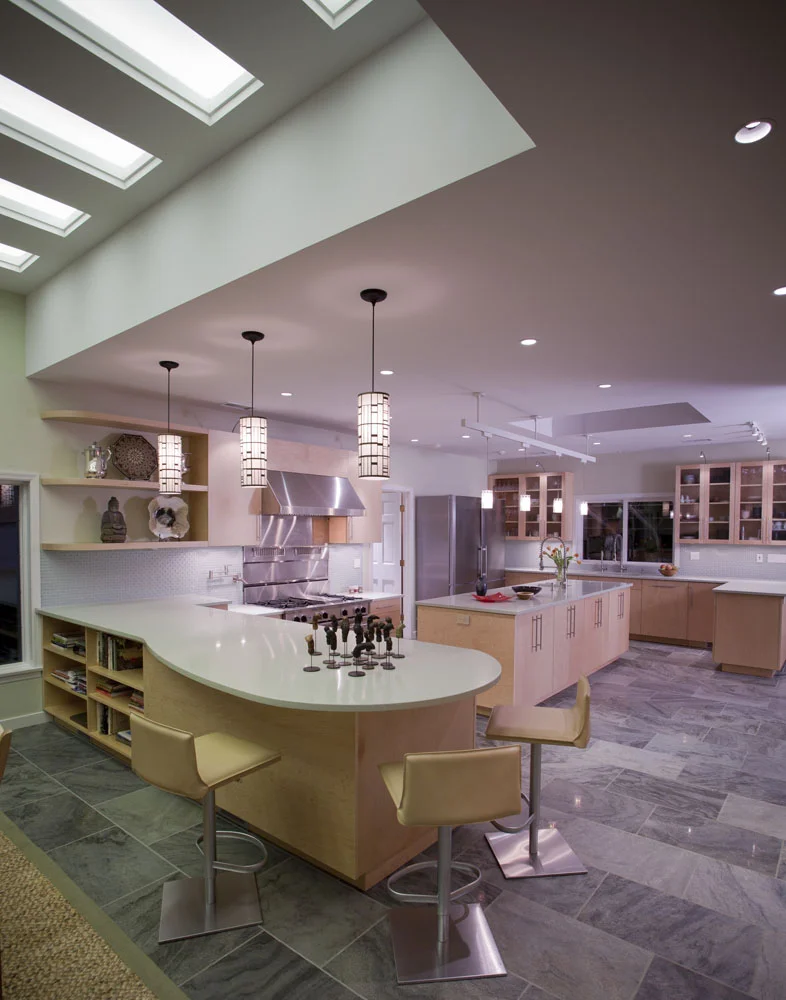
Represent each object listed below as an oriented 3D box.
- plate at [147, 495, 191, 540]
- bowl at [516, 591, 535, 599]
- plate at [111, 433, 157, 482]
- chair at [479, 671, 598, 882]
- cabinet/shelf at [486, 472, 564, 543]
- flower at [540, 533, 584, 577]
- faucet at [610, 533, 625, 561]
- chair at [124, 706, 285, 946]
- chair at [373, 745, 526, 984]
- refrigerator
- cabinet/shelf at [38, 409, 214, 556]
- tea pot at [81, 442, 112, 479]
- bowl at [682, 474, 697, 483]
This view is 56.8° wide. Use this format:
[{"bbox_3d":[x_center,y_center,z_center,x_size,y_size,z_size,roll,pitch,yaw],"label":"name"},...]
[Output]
[{"bbox_3d":[-1.705,0.131,5.529,0.309,0.304,0.111,4,-9,-41],"label":"plate"},{"bbox_3d":[1.035,0.740,5.583,0.134,0.050,0.088,1,0,-10],"label":"bowl"},{"bbox_3d":[-1.897,-0.317,5.358,0.073,0.308,0.314,-2,-15,28],"label":"plate"},{"bbox_3d":[0.604,1.187,3.141,0.411,0.710,0.402,2,-1,-4],"label":"chair"},{"bbox_3d":[1.800,0.123,9.655,0.967,0.878,0.280,-4,-6,41],"label":"cabinet/shelf"},{"bbox_3d":[2.099,0.664,8.896,0.296,0.538,0.549,-2,-2,34],"label":"flower"},{"bbox_3d":[2.907,0.627,9.375,0.053,0.328,0.196,1,0,-26],"label":"faucet"},{"bbox_3d":[-0.705,1.166,2.723,0.452,0.769,0.509,4,6,39],"label":"chair"},{"bbox_3d":[0.184,1.184,2.529,0.437,0.692,0.539,1,0,-1],"label":"chair"},{"bbox_3d":[0.705,0.543,8.268,0.513,1.281,1.313,-2,-1,31],"label":"refrigerator"},{"bbox_3d":[-1.903,-0.118,5.103,0.337,0.872,1.129,-2,-2,31],"label":"cabinet/shelf"},{"bbox_3d":[-2.024,-0.278,5.015,0.152,0.264,0.391,1,0,-19],"label":"tea pot"},{"bbox_3d":[3.445,-0.251,8.429,0.098,0.075,0.103,0,-3,0],"label":"bowl"}]
